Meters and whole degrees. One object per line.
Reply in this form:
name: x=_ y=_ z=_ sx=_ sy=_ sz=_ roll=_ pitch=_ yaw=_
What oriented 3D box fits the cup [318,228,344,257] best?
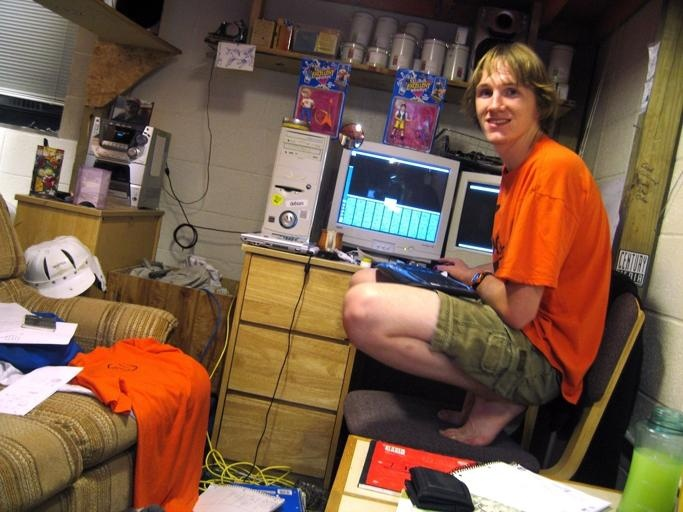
cup: x=-0.048 y=-0.062 z=2.363 sx=0.150 sy=0.165 sz=0.093 roll=4 pitch=5 yaw=-5

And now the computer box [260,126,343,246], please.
computer box: x=-0.186 y=-0.348 z=2.583 sx=0.234 sy=0.365 sz=0.391 roll=11 pitch=5 yaw=11

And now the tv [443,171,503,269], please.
tv: x=0.707 y=-0.231 z=2.634 sx=0.282 sy=0.513 sz=0.287 roll=8 pitch=38 yaw=5

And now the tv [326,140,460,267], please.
tv: x=0.241 y=-0.272 z=2.675 sx=0.601 sy=0.531 sz=0.355 roll=10 pitch=6 yaw=-6

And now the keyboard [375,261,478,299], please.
keyboard: x=0.299 y=0.090 z=1.830 sx=0.346 sy=0.032 sz=0.261 roll=3 pitch=12 yaw=-37

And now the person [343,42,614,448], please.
person: x=0.518 y=-0.056 z=1.771 sx=0.852 sy=1.208 sz=0.377 roll=10 pitch=5 yaw=3

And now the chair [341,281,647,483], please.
chair: x=0.541 y=0.362 z=2.200 sx=0.962 sy=1.152 sz=0.681 roll=9 pitch=6 yaw=0

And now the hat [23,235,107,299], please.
hat: x=-1.231 y=0.055 z=2.315 sx=0.236 sy=0.241 sz=0.314 roll=-22 pitch=35 yaw=-21

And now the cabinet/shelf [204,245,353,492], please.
cabinet/shelf: x=-0.278 y=0.493 z=2.455 sx=0.631 sy=1.082 sz=0.546 roll=10 pitch=4 yaw=-13
